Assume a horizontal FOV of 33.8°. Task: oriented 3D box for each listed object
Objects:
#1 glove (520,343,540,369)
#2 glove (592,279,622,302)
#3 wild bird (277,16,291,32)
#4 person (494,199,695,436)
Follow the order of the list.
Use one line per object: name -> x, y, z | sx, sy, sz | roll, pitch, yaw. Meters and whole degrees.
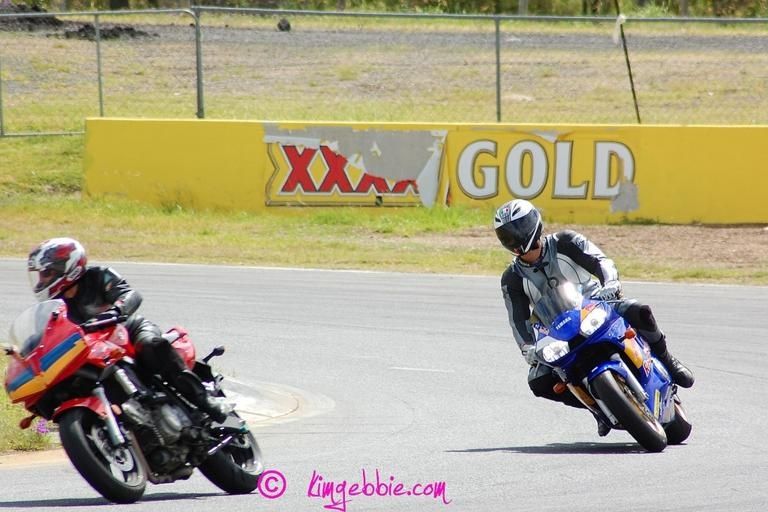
glove -> 1.692, 1.153, 14.721 | 0.121, 0.243, 0.254 | -8, -7, -22
glove -> 2.604, 0.413, 14.763 | 0.314, 0.131, 0.230 | -14, 33, 17
wild bird -> -2.595, -6.093, 32.650 | 0.333, 0.322, 0.503 | -2, 5, -1
person -> 2.475, 0.503, 15.423 | 1.457, 2.865, 0.885 | -43, -9, 18
